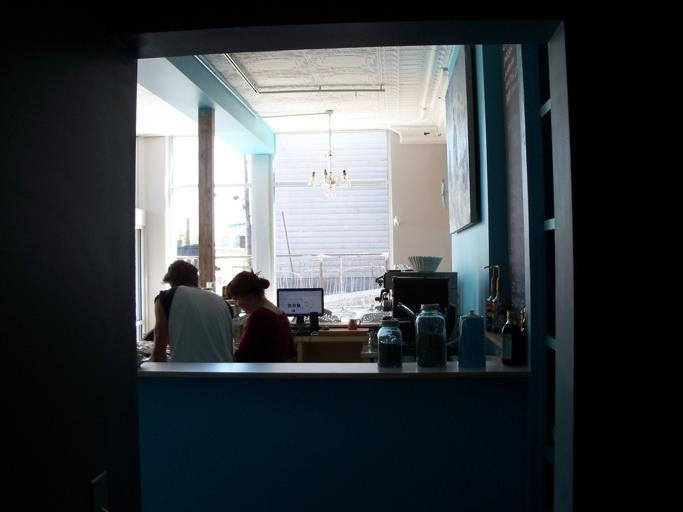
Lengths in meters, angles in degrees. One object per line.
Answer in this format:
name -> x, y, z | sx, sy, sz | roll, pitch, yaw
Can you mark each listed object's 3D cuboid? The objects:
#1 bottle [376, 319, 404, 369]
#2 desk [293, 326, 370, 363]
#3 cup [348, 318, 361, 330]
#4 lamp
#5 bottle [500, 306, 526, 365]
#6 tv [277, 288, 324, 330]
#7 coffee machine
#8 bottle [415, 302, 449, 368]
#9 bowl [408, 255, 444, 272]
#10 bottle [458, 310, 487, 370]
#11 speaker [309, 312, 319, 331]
bottle -> 0.223, 0.411, 2.708 | 0.114, 0.221, 0.150 | -2, -1, 6
desk -> -0.078, 0.771, 4.829 | 0.597, 0.337, 0.559 | -2, -1, 3
cup -> 0.096, 0.560, 4.688 | 0.094, 0.083, 0.158 | -1, -1, 0
lamp -> -0.162, -1.379, 8.185 | 0.639, 1.142, 1.804 | -1, -1, -3
bottle -> 0.812, 0.385, 2.696 | 0.112, 0.251, 0.169 | -2, -1, 16
tv -> -0.360, 0.461, 5.000 | 0.390, 0.385, 0.188 | 1, 13, 4
coffee machine -> 0.586, 0.346, 4.208 | 0.433, 0.641, 0.652 | 0, -9, 7
bottle -> 0.418, 0.374, 2.694 | 0.136, 0.289, 0.138 | -1, -1, 0
bowl -> 0.732, 0.070, 5.023 | 0.272, 0.128, 0.177 | -2, -1, 18
bottle -> 0.607, 0.392, 2.673 | 0.123, 0.256, 0.100 | -2, -1, 11
speaker -> -0.222, 0.546, 4.705 | 0.062, 0.151, 0.119 | -2, -2, 32
